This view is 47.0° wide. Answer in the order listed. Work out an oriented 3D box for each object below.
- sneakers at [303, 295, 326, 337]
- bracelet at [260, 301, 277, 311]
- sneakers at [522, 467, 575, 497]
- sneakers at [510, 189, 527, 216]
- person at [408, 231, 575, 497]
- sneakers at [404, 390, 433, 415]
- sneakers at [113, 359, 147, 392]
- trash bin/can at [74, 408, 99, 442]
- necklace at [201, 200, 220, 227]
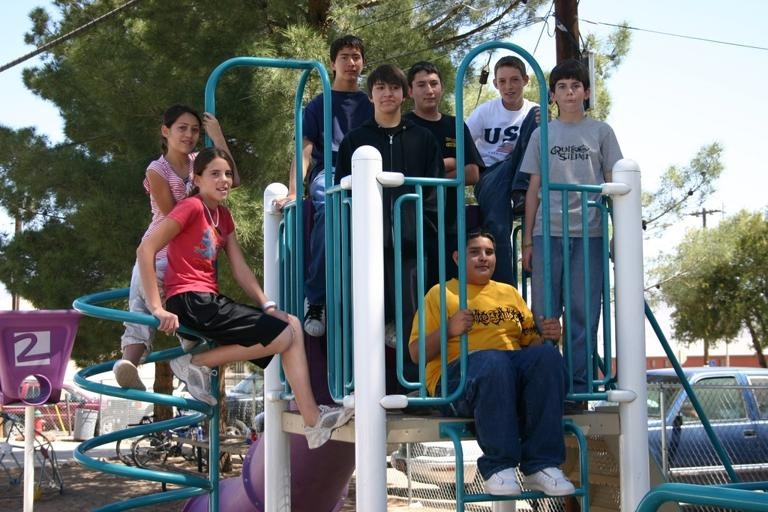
[{"bbox_3d":[-0.657,0.602,8.291,0.136,0.444,0.168,-2,-6,2],"label":"sneakers"},{"bbox_3d":[-1.057,0.459,8.251,0.095,0.072,0.099,18,-28,-41],"label":"bracelet"},{"bbox_3d":[1.369,1.884,7.341,0.410,0.225,0.175,-2,-10,9],"label":"sneakers"},{"bbox_3d":[1.318,-0.529,8.695,0.215,0.170,0.307,2,-21,0],"label":"sneakers"},{"bbox_3d":[0.965,0.908,7.646,1.217,2.271,0.552,-1,-10,2],"label":"person"},{"bbox_3d":[0.319,1.336,7.872,0.208,0.083,0.220,6,-20,4],"label":"sneakers"},{"bbox_3d":[-2.354,1.143,8.191,0.163,0.476,0.193,-17,31,-17],"label":"sneakers"},{"bbox_3d":[-8.385,4.786,24.862,0.610,0.864,0.776,3,-11,-19],"label":"trash bin/can"},{"bbox_3d":[-1.627,-0.391,8.312,0.048,0.212,0.150,-14,-5,22],"label":"necklace"}]
